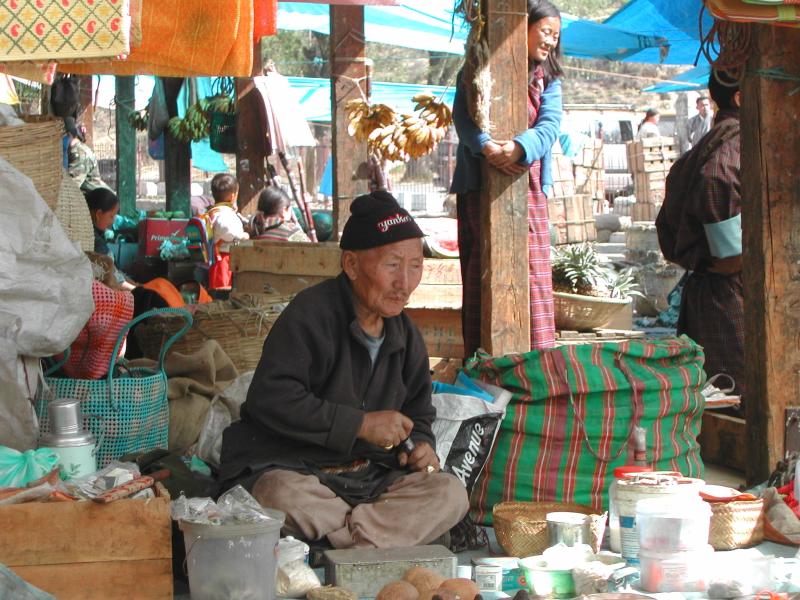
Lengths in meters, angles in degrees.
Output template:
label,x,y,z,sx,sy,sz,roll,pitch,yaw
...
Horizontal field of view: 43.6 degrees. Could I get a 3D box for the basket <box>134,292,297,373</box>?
label,x,y,z,sx,sy,sz,roll,pitch,yaw
basket,-1.147,0.190,6.427,0.706,0.279,0.596,2,-6,-44

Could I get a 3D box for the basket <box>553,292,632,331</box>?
label,x,y,z,sx,sy,sz,roll,pitch,yaw
basket,1.349,0.080,6.774,0.675,0.259,0.396,-1,6,-44

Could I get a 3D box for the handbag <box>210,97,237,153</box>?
label,x,y,z,sx,sy,sz,roll,pitch,yaw
handbag,-2.035,-2.032,11.376,0.316,0.616,0.261,2,5,-13

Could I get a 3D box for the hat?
label,x,y,z,sx,sy,sz,roll,pitch,yaw
hat,-0.096,-0.373,4.755,0.326,0.206,0.273,-6,6,26

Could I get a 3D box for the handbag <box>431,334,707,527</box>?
label,x,y,z,sx,sy,sz,roll,pitch,yaw
handbag,1.021,0.663,5.470,1.150,0.821,0.967,-2,-3,4

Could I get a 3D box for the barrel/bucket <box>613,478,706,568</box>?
label,x,y,z,sx,sy,sz,roll,pitch,yaw
barrel/bucket,1.114,0.938,4.485,0.371,0.337,0.374,0,1,0

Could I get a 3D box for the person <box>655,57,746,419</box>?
label,x,y,z,sx,sy,sz,roll,pitch,yaw
person,1.941,-0.368,6.266,0.432,2.129,0.868,3,5,-2

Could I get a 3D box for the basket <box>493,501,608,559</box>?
label,x,y,z,sx,sy,sz,roll,pitch,yaw
basket,0.655,1.057,4.716,0.366,0.140,0.292,0,1,-17

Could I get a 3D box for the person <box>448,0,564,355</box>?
label,x,y,z,sx,sy,sz,roll,pitch,yaw
person,0.621,-0.707,5.930,0.682,2.145,0.767,4,5,9

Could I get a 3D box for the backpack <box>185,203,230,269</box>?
label,x,y,z,sx,sy,sz,roll,pitch,yaw
backpack,-1.932,-0.657,9.776,0.451,0.660,0.588,-2,0,34

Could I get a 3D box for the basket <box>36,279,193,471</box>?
label,x,y,z,sx,sy,sz,roll,pitch,yaw
basket,-1.476,0.356,5.126,0.734,0.894,1.213,1,5,-20

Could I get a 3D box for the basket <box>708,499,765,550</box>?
label,x,y,z,sx,sy,sz,roll,pitch,yaw
basket,1.546,1.006,4.693,0.352,0.246,0.206,-1,-1,-36
